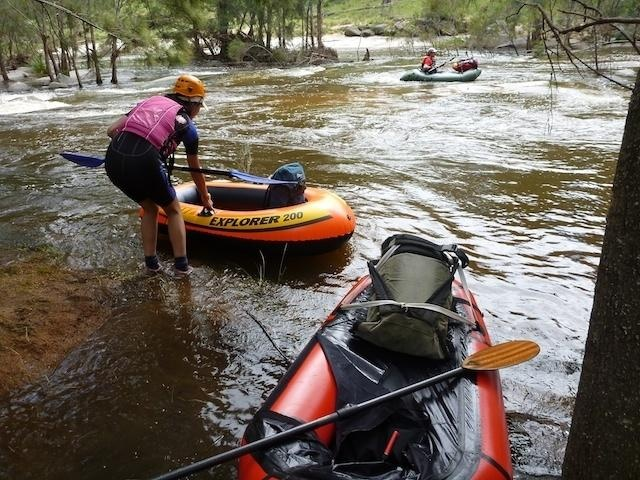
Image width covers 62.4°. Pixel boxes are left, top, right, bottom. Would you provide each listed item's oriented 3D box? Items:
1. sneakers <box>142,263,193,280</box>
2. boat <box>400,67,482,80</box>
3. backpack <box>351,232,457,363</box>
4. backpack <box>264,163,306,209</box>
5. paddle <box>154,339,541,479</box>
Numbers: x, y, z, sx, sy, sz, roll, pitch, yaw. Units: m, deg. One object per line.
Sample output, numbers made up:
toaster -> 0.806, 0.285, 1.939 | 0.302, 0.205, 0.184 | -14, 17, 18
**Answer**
sneakers -> -1.518, 0.325, 5.304 | 0.495, 0.182, 0.164 | 0, 26, 5
boat -> 3.767, -5.143, 16.771 | 1.829, 0.302, 0.883 | 2, 12, 15
backpack -> 0.722, 0.369, 4.081 | 0.752, 0.362, 1.163 | 7, 31, 8
backpack -> -0.392, -0.613, 5.852 | 0.521, 0.447, 0.382 | -11, 20, -25
paddle -> 0.362, 1.035, 3.302 | 2.503, 0.347, 0.212 | -9, 21, -22
